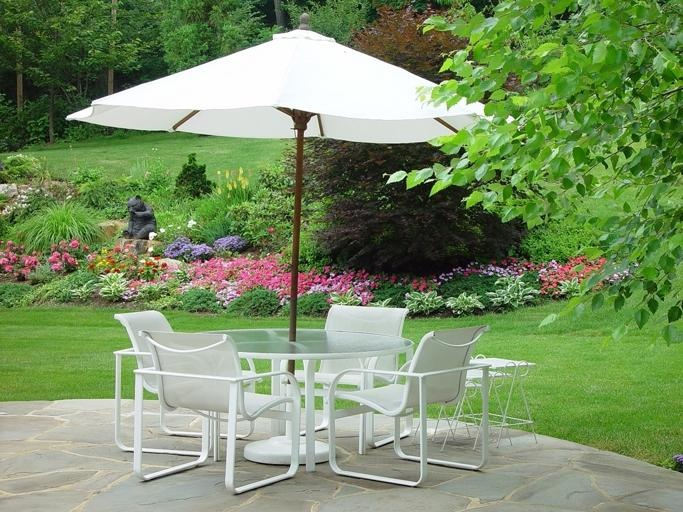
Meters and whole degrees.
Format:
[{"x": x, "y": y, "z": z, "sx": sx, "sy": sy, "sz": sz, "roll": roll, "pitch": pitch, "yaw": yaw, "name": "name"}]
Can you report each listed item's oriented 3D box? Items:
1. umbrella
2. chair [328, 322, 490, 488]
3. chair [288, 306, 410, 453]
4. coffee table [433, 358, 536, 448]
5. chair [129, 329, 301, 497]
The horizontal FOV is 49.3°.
[{"x": -0.091, "y": -0.402, "z": 6.121, "sx": 3.711, "sy": 2.538, "sz": 3.518, "roll": 2, "pitch": 2, "yaw": -12, "name": "umbrella"}, {"x": 0.487, "y": 1.059, "z": 5.465, "sx": 1.155, "sy": 0.926, "sz": 1.062, "roll": -4, "pitch": -6, "yaw": 16, "name": "chair"}, {"x": 0.259, "y": 1.156, "z": 6.726, "sx": 0.947, "sy": 0.919, "sz": 0.977, "roll": -31, "pitch": -28, "yaw": 29, "name": "chair"}, {"x": 1.399, "y": 1.408, "z": 7.123, "sx": 0.785, "sy": 0.599, "sz": 0.571, "roll": 1, "pitch": -11, "yaw": 32, "name": "coffee table"}, {"x": -0.870, "y": 1.070, "z": 5.291, "sx": 1.221, "sy": 0.908, "sz": 1.129, "roll": 5, "pitch": -7, "yaw": -25, "name": "chair"}]
